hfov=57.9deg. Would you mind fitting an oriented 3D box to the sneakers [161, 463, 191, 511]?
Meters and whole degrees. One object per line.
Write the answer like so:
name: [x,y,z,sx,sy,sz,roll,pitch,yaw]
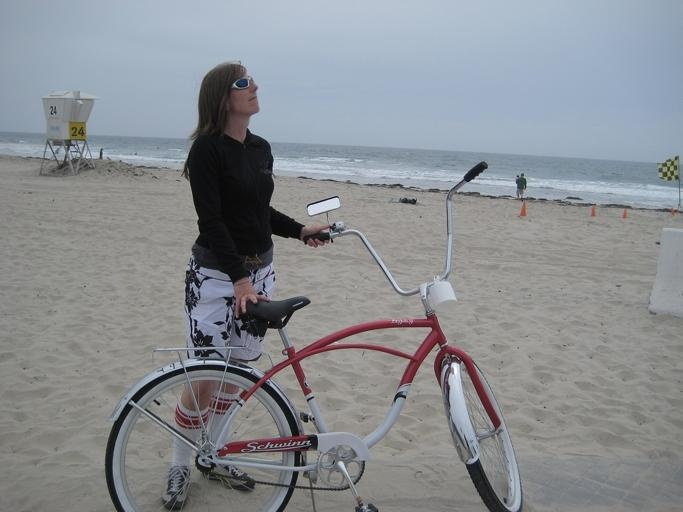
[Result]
sneakers: [-1.169,1.652,4.408,0.129,0.376,0.173,2,-29,-5]
